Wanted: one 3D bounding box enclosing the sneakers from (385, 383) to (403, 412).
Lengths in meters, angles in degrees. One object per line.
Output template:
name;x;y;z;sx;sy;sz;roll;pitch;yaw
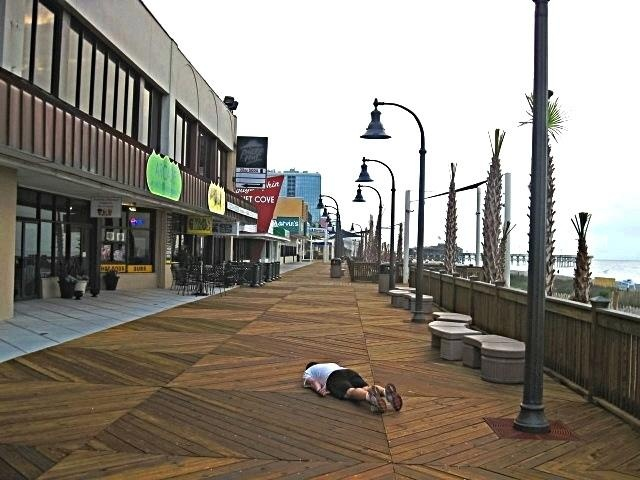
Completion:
sneakers;1.094;2.414;7.866;0.138;0.401;0.174;-13;-26;-18

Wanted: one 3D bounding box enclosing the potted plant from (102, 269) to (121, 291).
potted plant;-9.504;1.907;24.350;0.750;0.944;0.721;-4;-5;37

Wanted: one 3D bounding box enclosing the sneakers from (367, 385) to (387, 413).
sneakers;0.822;2.382;7.711;0.257;0.305;0.504;1;-1;5

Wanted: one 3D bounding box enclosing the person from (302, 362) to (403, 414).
person;0.474;2.340;8.175;0.610;0.360;1.549;15;-6;-25

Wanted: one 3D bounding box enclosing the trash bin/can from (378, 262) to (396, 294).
trash bin/can;3.219;2.074;27.432;0.766;1.468;0.803;3;-13;-21

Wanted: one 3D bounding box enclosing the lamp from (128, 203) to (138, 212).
lamp;-8.272;-1.487;23.559;0.345;0.570;0.522;2;-6;-19
